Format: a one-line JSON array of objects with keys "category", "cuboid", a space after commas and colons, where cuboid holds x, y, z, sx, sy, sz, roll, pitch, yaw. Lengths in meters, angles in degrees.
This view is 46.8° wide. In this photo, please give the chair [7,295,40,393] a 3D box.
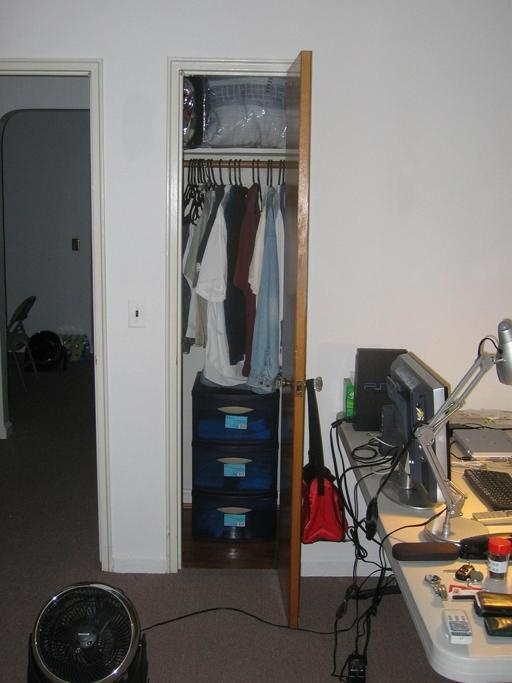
[{"category": "chair", "cuboid": [-2.360, -0.053, 5.951, 0.320, 0.831, 1.475, -5, 10, -21]}]

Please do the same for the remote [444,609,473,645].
[{"category": "remote", "cuboid": [0.379, 0.539, 1.116, 0.048, 0.032, 0.082, 0, 10, 11]}]

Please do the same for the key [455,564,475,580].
[{"category": "key", "cuboid": [0.466, 0.513, 1.325, 0.036, 0.020, 0.023, 2, 7, -37]}]

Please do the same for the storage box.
[{"category": "storage box", "cuboid": [-0.109, 0.565, 2.884, 0.391, 0.818, 0.628, 1, 9, 3]}]
